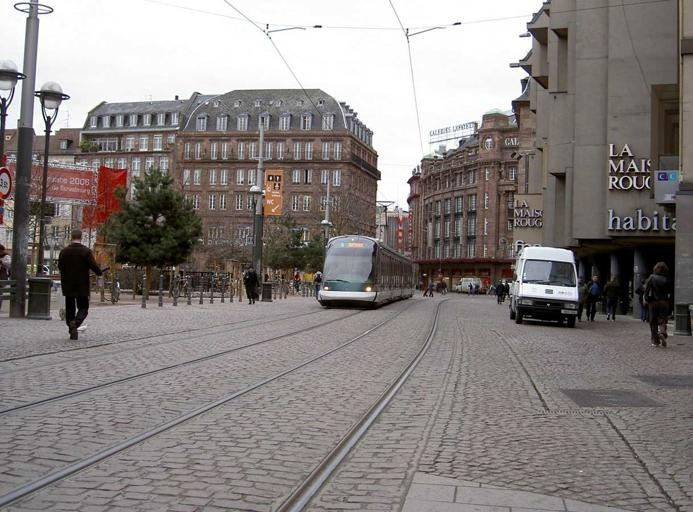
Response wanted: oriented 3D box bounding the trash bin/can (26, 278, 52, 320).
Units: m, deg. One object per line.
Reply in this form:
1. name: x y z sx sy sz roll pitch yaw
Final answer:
1. trash bin/can: -8.380 1.172 20.366 0.803 1.153 0.942 1 -4 15

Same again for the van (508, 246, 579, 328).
1. van: 7.072 1.113 26.439 1.632 2.068 3.501 0 -8 10

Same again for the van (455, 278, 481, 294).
1. van: 15.560 3.819 94.307 2.828 1.576 1.670 2 -1 42

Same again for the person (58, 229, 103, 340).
1. person: -5.693 0.608 15.719 0.802 2.014 1.146 2 0 -22

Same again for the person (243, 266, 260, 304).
1. person: -4.699 1.487 36.993 0.661 1.637 2.737 2 0 -7

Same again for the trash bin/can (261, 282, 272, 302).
1. trash bin/can: -4.219 1.959 39.557 0.811 1.203 0.847 0 -4 -1

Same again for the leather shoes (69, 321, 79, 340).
1. leather shoes: -5.668 1.567 15.383 0.142 0.508 0.206 4 20 -11
